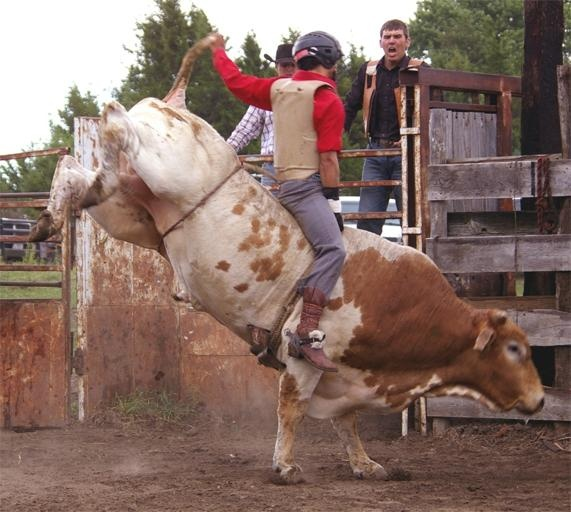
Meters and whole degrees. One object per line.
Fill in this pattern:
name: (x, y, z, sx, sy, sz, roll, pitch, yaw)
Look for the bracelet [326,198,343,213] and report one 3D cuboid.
bracelet: (0.467, -0.467, 12.412, 0.112, 0.118, 0.110, -1, 2, -11)
